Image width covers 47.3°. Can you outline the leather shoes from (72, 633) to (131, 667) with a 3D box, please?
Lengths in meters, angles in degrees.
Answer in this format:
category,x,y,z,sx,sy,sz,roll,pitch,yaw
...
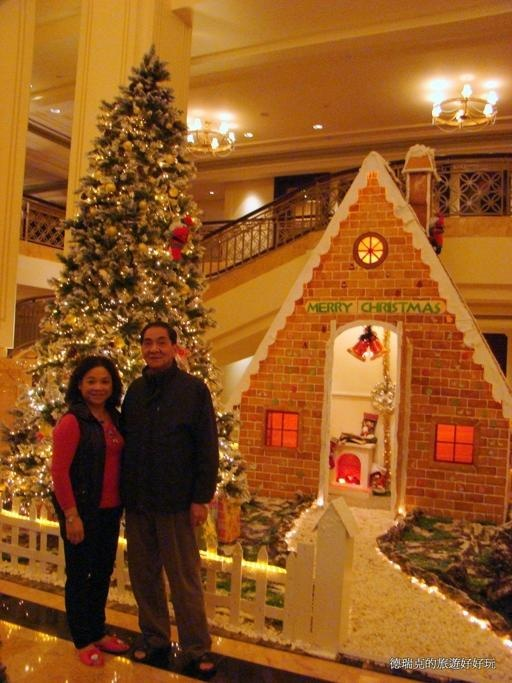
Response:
category,x,y,z,sx,sy,sz,roll,pitch,yaw
leather shoes,-0.711,1.433,2.721,0.107,0.050,0.200,9,14,28

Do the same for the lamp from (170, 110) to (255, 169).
category,x,y,z,sx,sy,sz,roll,pitch,yaw
lamp,-0.832,-3.544,10.265,0.915,0.397,0.870,9,-12,-30

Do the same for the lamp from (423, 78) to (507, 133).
category,x,y,z,sx,sy,sz,roll,pitch,yaw
lamp,3.175,-3.548,8.889,0.947,0.426,0.901,3,0,8

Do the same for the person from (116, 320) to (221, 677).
category,x,y,z,sx,sy,sz,roll,pitch,yaw
person,-0.400,0.698,2.675,0.545,1.453,0.302,5,-1,-2

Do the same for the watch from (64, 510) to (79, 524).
category,x,y,z,sx,sy,sz,roll,pitch,yaw
watch,-0.787,0.742,2.492,0.060,0.052,0.053,-5,-2,-8
